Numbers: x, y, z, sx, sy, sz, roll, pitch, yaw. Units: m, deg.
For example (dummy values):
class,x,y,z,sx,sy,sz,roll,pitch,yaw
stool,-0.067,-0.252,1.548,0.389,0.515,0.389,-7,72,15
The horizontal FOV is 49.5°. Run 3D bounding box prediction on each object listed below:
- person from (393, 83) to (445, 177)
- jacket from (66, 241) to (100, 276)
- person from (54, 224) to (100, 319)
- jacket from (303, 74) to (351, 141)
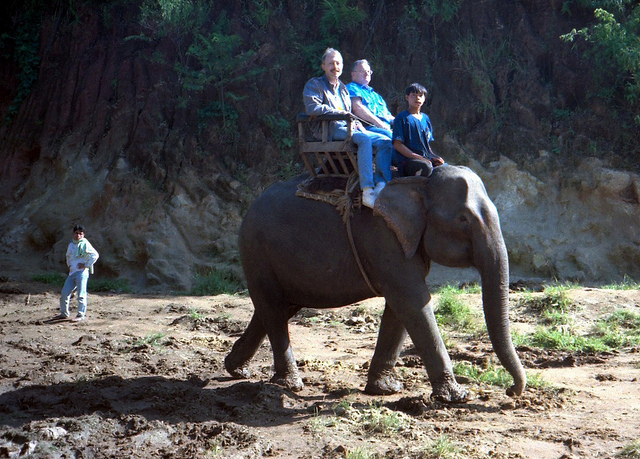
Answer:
class,x,y,z,sx,sy,sz,roll,pitch,yaw
person,1.175,-1.163,8.236,0.534,1.067,0.521,-6,10,-34
jacket,-4.061,0.467,11.846,0.613,0.666,0.327,2,4,17
person,-4.106,0.752,11.746,0.752,1.548,0.611,-5,9,-25
jacket,0.087,-1.532,8.806,0.576,0.818,0.732,1,9,8
